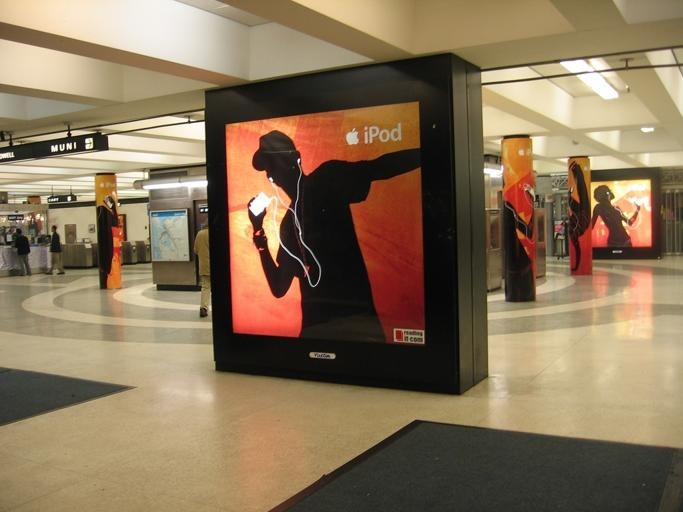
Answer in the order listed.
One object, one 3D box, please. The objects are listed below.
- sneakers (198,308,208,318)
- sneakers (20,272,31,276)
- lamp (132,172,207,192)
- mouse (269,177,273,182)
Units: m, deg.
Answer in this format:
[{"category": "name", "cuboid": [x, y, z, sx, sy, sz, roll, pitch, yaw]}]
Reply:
[{"category": "sneakers", "cuboid": [-2.982, 1.220, 10.862, 0.199, 0.227, 0.214, -2, 3, -25]}, {"category": "sneakers", "cuboid": [-14.422, 0.847, 22.875, 0.485, 0.227, 0.157, -3, 0, 10]}, {"category": "lamp", "cuboid": [-5.239, -2.270, 15.506, 3.387, 0.428, 0.845, 1, 5, 40]}, {"category": "mouse", "cuboid": [-0.910, -0.994, 6.530, 0.051, 0.053, 0.053, -4, -7, 16]}]
